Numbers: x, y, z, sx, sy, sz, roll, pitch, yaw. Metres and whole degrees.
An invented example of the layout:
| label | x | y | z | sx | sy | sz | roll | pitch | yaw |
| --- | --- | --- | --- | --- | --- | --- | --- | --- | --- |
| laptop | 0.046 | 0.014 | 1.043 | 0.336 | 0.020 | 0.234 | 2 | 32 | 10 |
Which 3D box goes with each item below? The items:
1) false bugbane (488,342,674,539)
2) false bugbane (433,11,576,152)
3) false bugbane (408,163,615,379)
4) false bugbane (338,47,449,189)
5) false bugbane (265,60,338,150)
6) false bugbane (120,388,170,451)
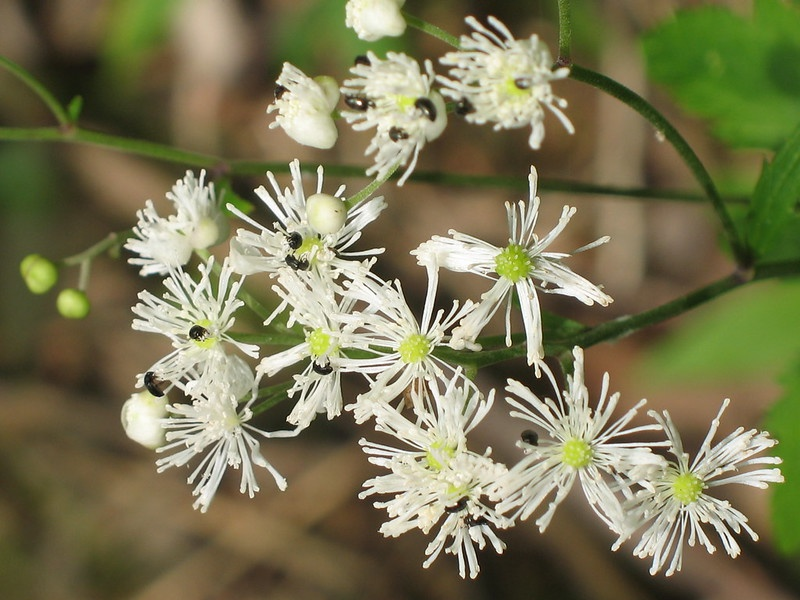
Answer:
| label | x | y | z | sx | sy | sz | roll | pitch | yaw |
| --- | --- | --- | --- | --- | --- | --- | --- | --- | --- |
| false bugbane | 0.501 | 0.385 | 2.235 | 0.448 | 0.499 | 0.312 | 1 | -6 | 12 |
| false bugbane | 0.274 | -0.570 | 2.139 | 0.351 | 0.392 | 0.289 | 2 | -6 | 2 |
| false bugbane | 0.237 | -0.040 | 2.288 | 0.561 | 0.606 | 0.169 | -23 | 6 | -5 |
| false bugbane | -0.022 | -0.481 | 2.137 | 0.262 | 0.322 | 0.198 | 0 | -6 | 20 |
| false bugbane | -0.277 | -0.561 | 2.284 | 0.243 | 0.149 | 0.198 | -28 | 11 | -33 |
| false bugbane | -0.772 | 0.360 | 2.449 | 0.142 | 0.194 | 0.099 | -10 | 6 | -7 |
